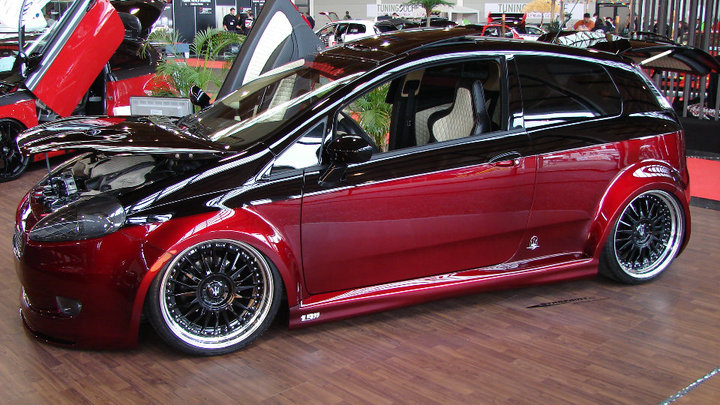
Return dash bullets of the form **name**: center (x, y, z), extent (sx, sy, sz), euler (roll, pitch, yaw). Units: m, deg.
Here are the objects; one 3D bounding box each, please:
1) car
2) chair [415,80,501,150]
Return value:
- **car**: center (0.310, -0.192, 4.338), extent (5.815, 1.788, 2.859), euler (-4, 13, -19)
- **chair**: center (0.849, -0.809, 3.835), extent (0.893, 0.579, 0.550), euler (-7, 21, -22)
